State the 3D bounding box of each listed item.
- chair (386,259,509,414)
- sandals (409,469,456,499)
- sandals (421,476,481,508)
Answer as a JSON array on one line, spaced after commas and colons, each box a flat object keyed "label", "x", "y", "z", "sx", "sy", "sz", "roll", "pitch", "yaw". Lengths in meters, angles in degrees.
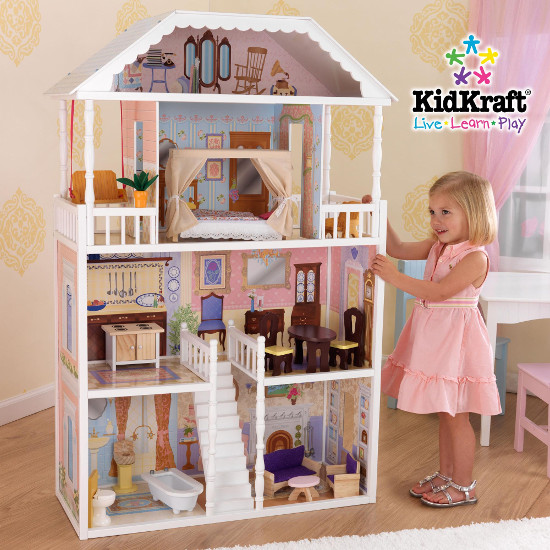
[{"label": "chair", "x": 0.885, "y": 0.403, "z": 3.644, "sx": 0.647, "sy": 0.670, "sz": 0.412, "roll": 3, "pitch": 7, "yaw": 20}, {"label": "sandals", "x": 0.886, "y": 1.181, "z": 3.802, "sx": 0.228, "sy": 0.109, "sz": 0.111, "roll": -6, "pitch": 6, "yaw": -9}, {"label": "sandals", "x": 0.959, "y": 1.188, "z": 3.692, "sx": 0.262, "sy": 0.127, "sz": 0.142, "roll": 1, "pitch": -1, "yaw": 0}]
